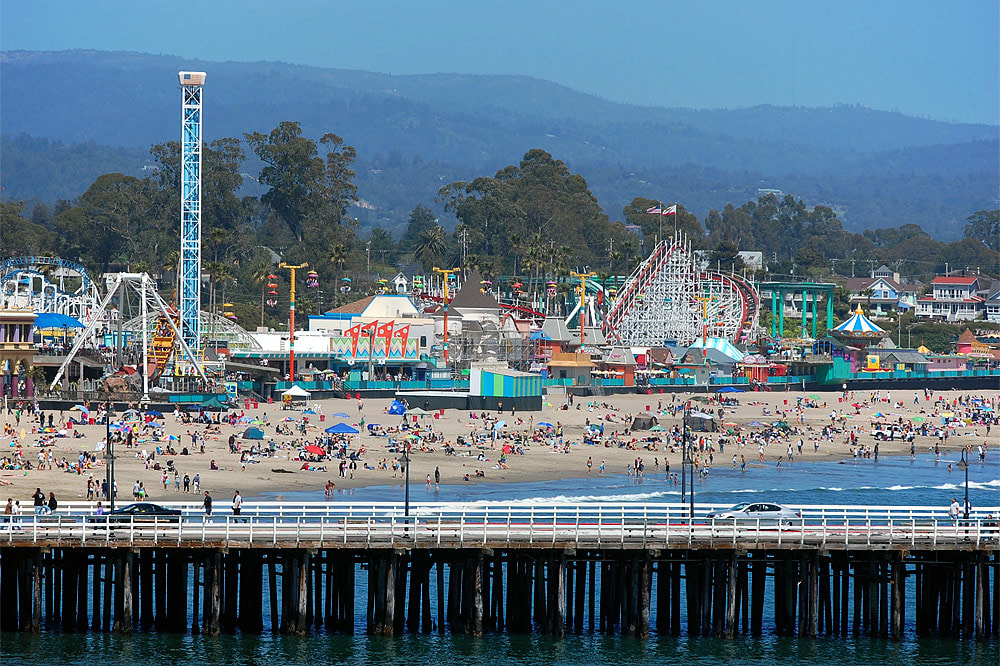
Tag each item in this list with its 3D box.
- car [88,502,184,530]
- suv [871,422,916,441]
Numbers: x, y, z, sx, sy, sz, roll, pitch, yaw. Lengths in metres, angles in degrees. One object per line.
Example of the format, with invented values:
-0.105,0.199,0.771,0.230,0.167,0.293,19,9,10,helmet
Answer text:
-35.774,18.542,272.380,7.851,2.640,3.646,2,-3,-4,car
47.515,12.048,332.943,4.027,1.427,2.331,-1,6,2,suv
